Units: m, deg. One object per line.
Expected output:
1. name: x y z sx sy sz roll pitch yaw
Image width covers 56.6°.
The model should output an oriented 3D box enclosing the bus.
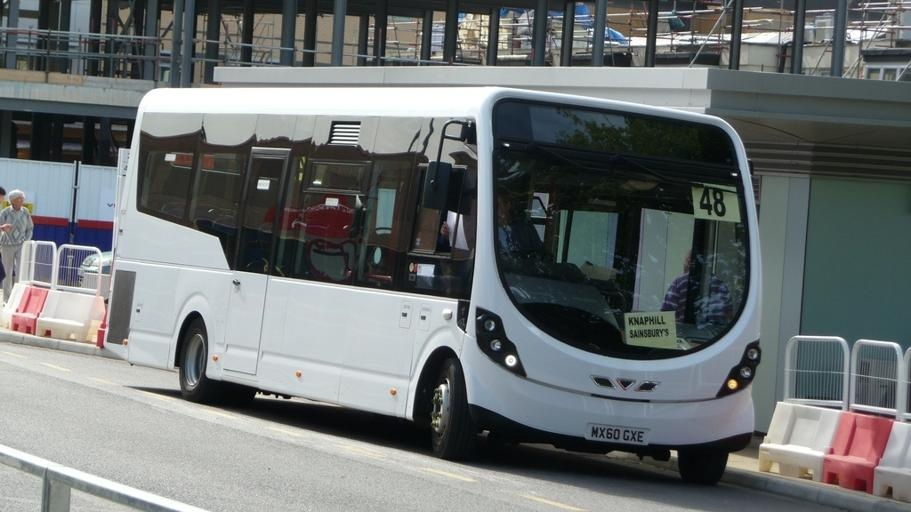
1. bus: -1.155 0.028 13.931 11.579 5.670 3.368 5 5 33

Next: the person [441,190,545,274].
1. person: 0.551 -0.383 11.502 1.347 0.984 0.409 3 4 5
